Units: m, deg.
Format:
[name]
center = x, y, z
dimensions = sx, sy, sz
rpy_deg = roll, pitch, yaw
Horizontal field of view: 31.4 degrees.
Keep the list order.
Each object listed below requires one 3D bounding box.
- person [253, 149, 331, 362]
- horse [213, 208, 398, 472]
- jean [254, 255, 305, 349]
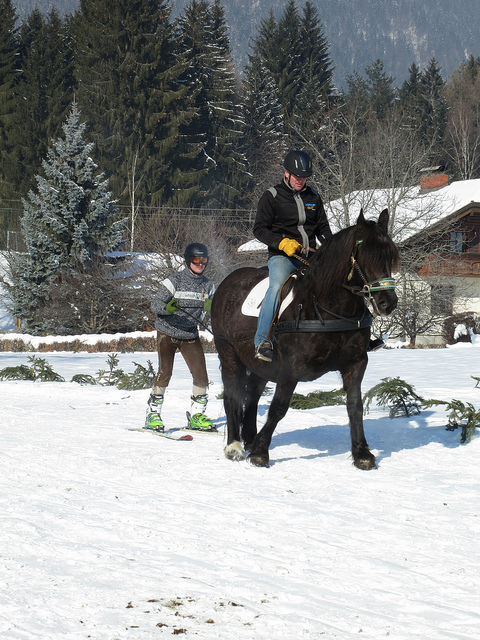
[person]
center = 0.549, -0.658, 8.390
dimensions = 0.953, 1.923, 0.842
rpy_deg = -7, 8, -27
[horse]
center = 0.570, 0.213, 7.972
dimensions = 0.892, 2.320, 2.600
rpy_deg = 0, 2, -24
[jean]
center = 0.341, -0.180, 8.103
dimensions = 0.317, 0.864, 0.552
rpy_deg = 2, 2, 22
